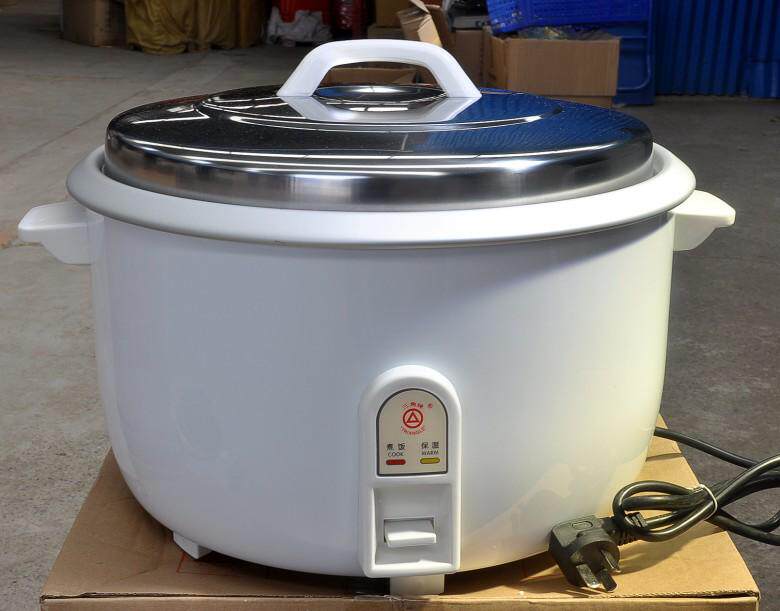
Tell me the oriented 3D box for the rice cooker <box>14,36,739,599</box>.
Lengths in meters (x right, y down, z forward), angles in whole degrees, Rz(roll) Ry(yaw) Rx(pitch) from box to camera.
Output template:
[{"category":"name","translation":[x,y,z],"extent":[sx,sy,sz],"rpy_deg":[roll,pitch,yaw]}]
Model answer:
[{"category":"rice cooker","translation":[-0.043,-0.009,1.064],"extent":[0.841,0.424,0.609],"rpy_deg":[-1,20,-5]}]
